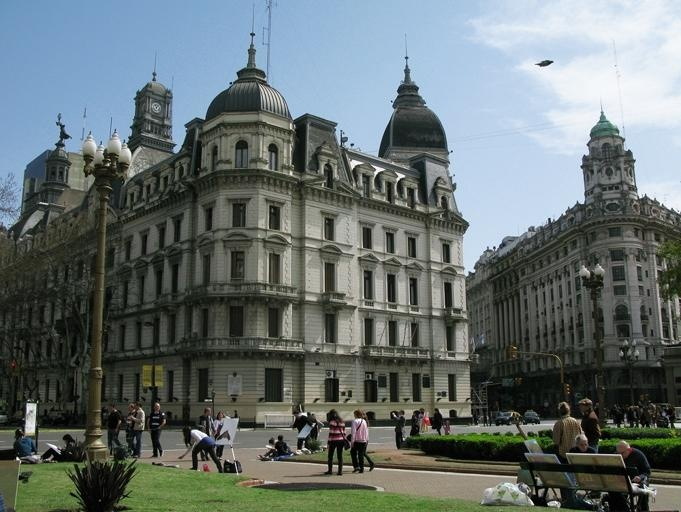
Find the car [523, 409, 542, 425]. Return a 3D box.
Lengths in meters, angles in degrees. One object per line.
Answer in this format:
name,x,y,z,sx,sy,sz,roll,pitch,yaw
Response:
car,19.563,16.593,79.756,1.902,1.422,2.931,-6,-29,14

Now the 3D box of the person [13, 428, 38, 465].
person,-11.363,6.910,28.122,0.881,1.245,0.871,-11,-9,-29

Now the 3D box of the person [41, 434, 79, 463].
person,-10.248,7.108,28.847,1.703,0.949,0.701,-13,-21,36

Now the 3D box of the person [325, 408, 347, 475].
person,-0.153,6.824,28.546,0.692,2.345,1.512,0,-17,-1
